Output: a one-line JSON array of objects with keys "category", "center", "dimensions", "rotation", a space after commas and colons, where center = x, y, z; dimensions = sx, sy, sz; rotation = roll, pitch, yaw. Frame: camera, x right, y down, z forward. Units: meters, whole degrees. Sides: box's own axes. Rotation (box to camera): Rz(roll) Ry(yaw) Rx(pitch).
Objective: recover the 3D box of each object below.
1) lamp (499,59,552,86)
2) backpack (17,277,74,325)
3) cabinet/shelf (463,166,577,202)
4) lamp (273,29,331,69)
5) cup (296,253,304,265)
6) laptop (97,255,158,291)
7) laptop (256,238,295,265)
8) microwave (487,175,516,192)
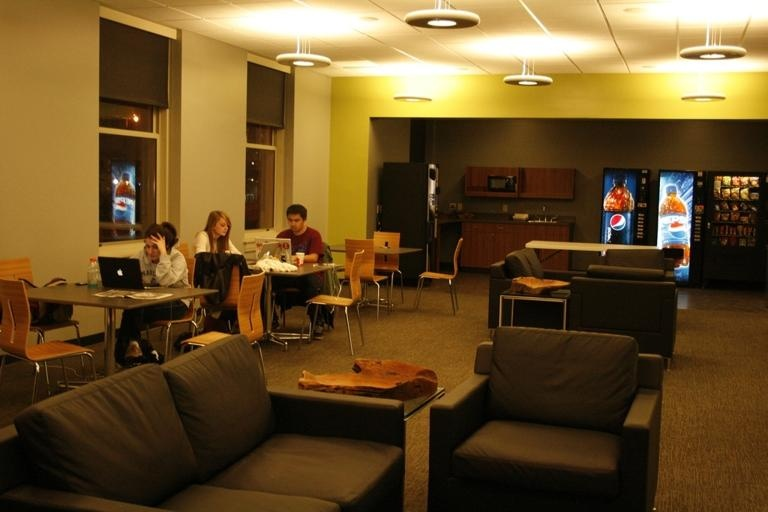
[{"category": "lamp", "center": [2.298, -2.974, 9.435], "dimensions": [0.729, 0.441, 0.722], "rotation": [0, -3, 3]}, {"category": "backpack", "center": [-3.299, 0.450, 5.696], "dimensions": [0.511, 0.250, 0.513], "rotation": [12, 7, 31]}, {"category": "cabinet/shelf", "center": [3.129, -1.719, 13.659], "dimensions": [2.433, 0.770, 0.268], "rotation": [0, 5, 10]}, {"category": "lamp", "center": [-1.157, -2.965, 8.321], "dimensions": [0.797, 0.457, 0.788], "rotation": [0, -5, -2]}, {"category": "cup", "center": [-1.040, 0.043, 7.247], "dimensions": [0.123, 0.157, 0.122], "rotation": [1, 6, 0]}, {"category": "laptop", "center": [-2.392, 0.159, 5.415], "dimensions": [0.430, 0.294, 0.297], "rotation": [2, 9, 15]}, {"category": "laptop", "center": [-1.393, -0.077, 7.280], "dimensions": [0.414, 0.296, 0.285], "rotation": [-6, 17, -26]}, {"category": "microwave", "center": [2.750, -1.674, 13.694], "dimensions": [0.681, 0.423, 0.365], "rotation": [2, 6, 25]}]
